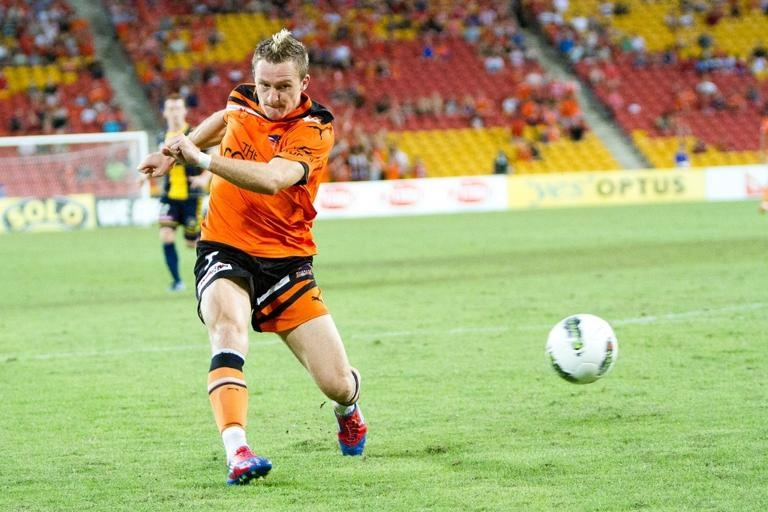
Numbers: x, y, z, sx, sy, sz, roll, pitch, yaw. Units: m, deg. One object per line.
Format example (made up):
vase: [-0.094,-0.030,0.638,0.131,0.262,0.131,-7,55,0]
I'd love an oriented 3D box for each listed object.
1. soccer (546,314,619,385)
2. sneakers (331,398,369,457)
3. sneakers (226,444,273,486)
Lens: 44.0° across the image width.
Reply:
soccer: [1.829,0.956,9.120,0.695,0.636,0.694,3,36,5]
sneakers: [-0.325,1.533,8.563,0.212,0.520,0.234,-3,13,5]
sneakers: [-1.148,1.752,7.937,0.206,0.228,0.479,-1,-19,-45]
